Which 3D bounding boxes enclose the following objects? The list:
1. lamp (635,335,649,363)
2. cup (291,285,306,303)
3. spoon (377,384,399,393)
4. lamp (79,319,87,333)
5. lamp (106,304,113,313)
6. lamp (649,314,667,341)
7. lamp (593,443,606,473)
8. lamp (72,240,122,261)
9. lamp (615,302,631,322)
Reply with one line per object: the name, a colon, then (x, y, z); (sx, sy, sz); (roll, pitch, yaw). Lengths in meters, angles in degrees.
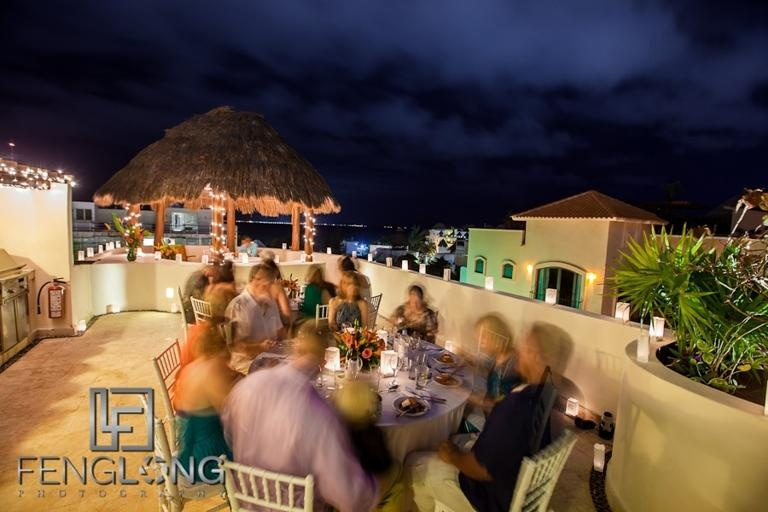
lamp: (4.275, 1.511, 7.404); (0.200, 0.441, 0.311); (4, 2, 30)
cup: (-2.145, 1.018, 11.822); (0.340, 0.572, 0.569); (2, -6, -15)
spoon: (0.059, 2.281, 7.714); (0.456, 0.121, 0.075); (2, -28, -34)
lamp: (-8.031, 1.868, 11.952); (0.159, 0.287, 0.338); (2, 1, -27)
lamp: (-8.158, 1.551, 13.329); (0.261, 0.270, 0.147); (0, -4, -43)
lamp: (4.873, 1.272, 7.978); (0.478, 0.417, 0.228); (2, 2, -26)
lamp: (3.877, 3.601, 8.093); (0.196, 0.465, 0.267); (4, 2, 26)
lamp: (-9.187, -0.165, 14.689); (1.099, 0.484, 4.613); (3, 1, -29)
lamp: (4.546, 1.050, 8.541); (0.255, 0.353, 0.337); (4, 1, 27)
